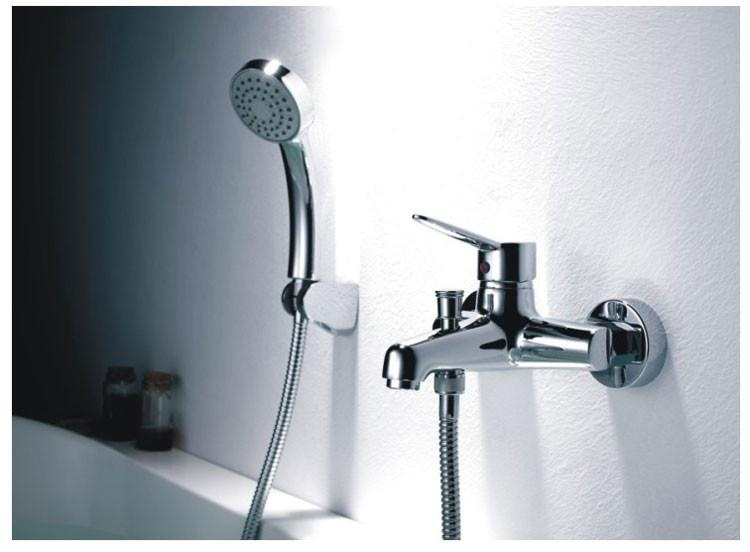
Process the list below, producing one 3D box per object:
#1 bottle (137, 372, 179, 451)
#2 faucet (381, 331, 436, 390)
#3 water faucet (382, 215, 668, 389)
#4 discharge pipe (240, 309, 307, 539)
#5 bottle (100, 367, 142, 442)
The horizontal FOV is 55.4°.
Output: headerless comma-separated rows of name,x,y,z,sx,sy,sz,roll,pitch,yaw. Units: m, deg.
bottle,-0.403,0.254,1.361,0.083,0.130,0.070,4,-5,-34
faucet,0.041,0.085,0.744,0.041,0.063,0.075,1,-7,42
water faucet,0.153,0.041,0.793,0.343,0.178,0.230,3,-4,-23
discharge pipe,-0.152,0.228,1.084,0.052,0.345,0.042,11,-12,38
bottle,-0.509,0.256,1.436,0.086,0.143,0.082,-1,-10,0
